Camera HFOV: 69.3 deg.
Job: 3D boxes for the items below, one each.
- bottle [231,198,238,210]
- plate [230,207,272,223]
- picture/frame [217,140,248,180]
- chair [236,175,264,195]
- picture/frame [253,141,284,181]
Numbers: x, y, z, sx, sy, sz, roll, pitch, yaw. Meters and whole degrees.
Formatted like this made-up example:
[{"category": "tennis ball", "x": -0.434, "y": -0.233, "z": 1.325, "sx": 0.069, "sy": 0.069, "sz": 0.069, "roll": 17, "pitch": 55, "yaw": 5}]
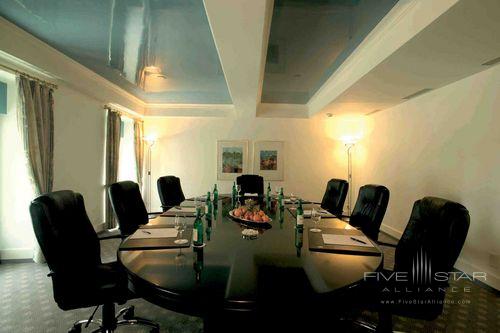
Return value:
[{"category": "bottle", "x": -0.243, "y": 0.610, "z": 5.817, "sx": 0.117, "sy": 0.206, "sz": 0.112, "roll": 1, "pitch": 6, "yaw": 0}, {"category": "plate", "x": 0.022, "y": 0.663, "z": 5.043, "sx": 0.438, "sy": 0.135, "sz": 0.217, "roll": -3, "pitch": -6, "yaw": 34}, {"category": "picture/frame", "x": -0.411, "y": -0.194, "z": 9.132, "sx": 0.994, "sy": 1.213, "sz": 0.049, "roll": 0, "pitch": -3, "yaw": -4}, {"category": "chair", "x": 0.017, "y": 0.369, "z": 7.367, "sx": 0.518, "sy": 0.356, "sz": 0.377, "roll": 1, "pitch": 4, "yaw": -4}, {"category": "picture/frame", "x": 0.510, "y": -0.155, "z": 9.054, "sx": 1.002, "sy": 1.312, "sz": 0.047, "roll": 0, "pitch": -3, "yaw": 0}]
